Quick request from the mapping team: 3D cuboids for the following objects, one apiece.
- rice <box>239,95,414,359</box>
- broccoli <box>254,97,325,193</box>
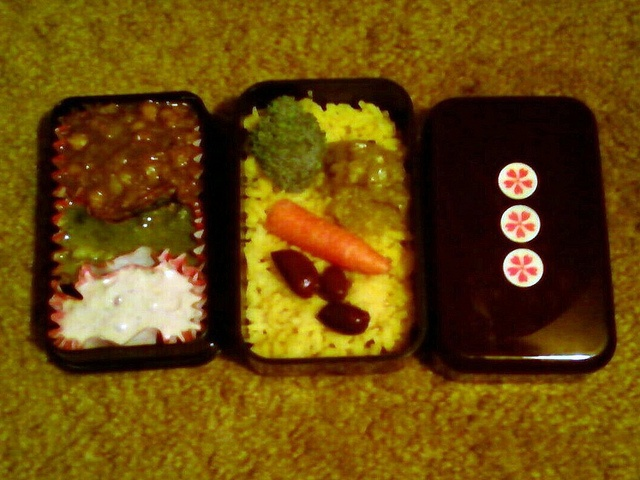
[{"bbox_3d":[0.019,-0.040,2.901,0.703,0.294,0.921,-1,90,0],"label":"rice"},{"bbox_3d":[-0.114,-0.344,2.659,0.285,0.123,0.277,39,87,3],"label":"broccoli"}]
